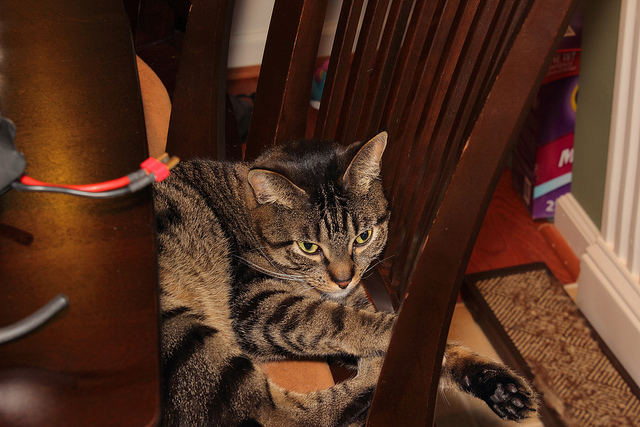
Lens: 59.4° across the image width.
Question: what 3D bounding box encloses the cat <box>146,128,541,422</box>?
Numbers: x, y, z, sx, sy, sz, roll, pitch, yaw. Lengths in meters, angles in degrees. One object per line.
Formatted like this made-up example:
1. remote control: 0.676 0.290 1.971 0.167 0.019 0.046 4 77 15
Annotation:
1. cat: -0.051 0.160 1.052 0.761 0.440 0.455 5 26 12

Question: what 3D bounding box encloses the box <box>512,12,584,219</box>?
1. box: 0.592 -0.241 1.429 0.136 0.440 0.327 14 51 21
